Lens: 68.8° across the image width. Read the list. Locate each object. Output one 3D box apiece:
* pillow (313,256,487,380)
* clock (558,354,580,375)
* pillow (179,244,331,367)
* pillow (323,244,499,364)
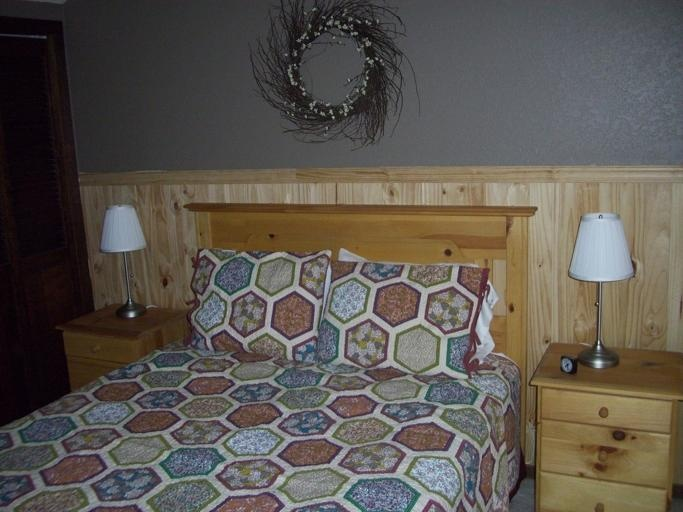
[{"bbox_3d":[0.312,0.282,2.274,0.757,0.507,0.222,7,-15,23],"label":"pillow"},{"bbox_3d":[1.005,0.486,2.202,0.034,0.059,0.063,-14,21,-36],"label":"clock"},{"bbox_3d":[-0.414,0.266,2.507,0.607,0.412,0.226,2,3,18],"label":"pillow"},{"bbox_3d":[0.338,0.249,2.338,0.589,0.548,0.177,9,1,14],"label":"pillow"}]
